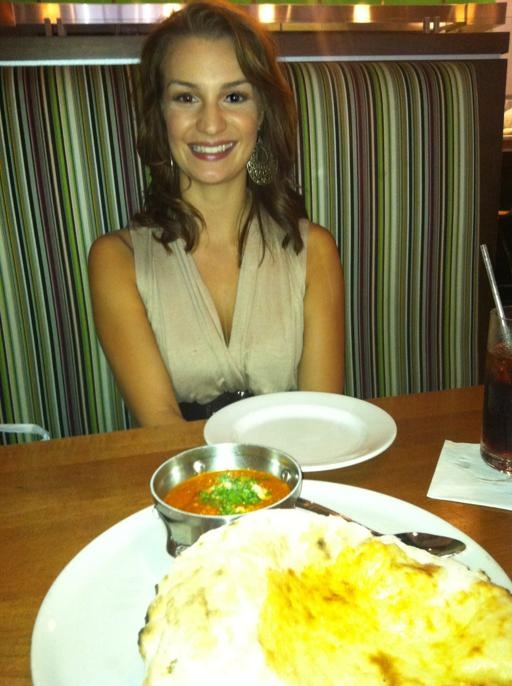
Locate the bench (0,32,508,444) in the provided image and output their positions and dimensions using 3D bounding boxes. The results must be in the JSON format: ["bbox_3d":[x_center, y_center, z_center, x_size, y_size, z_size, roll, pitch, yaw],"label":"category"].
[{"bbox_3d":[-0.075,-0.377,1.823,1.572,1.091,0.167,-5,14,-16],"label":"bench"}]

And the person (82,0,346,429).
[{"bbox_3d":[-0.097,-0.410,1.835,0.859,1.331,0.490,1,4,-29],"label":"person"}]
